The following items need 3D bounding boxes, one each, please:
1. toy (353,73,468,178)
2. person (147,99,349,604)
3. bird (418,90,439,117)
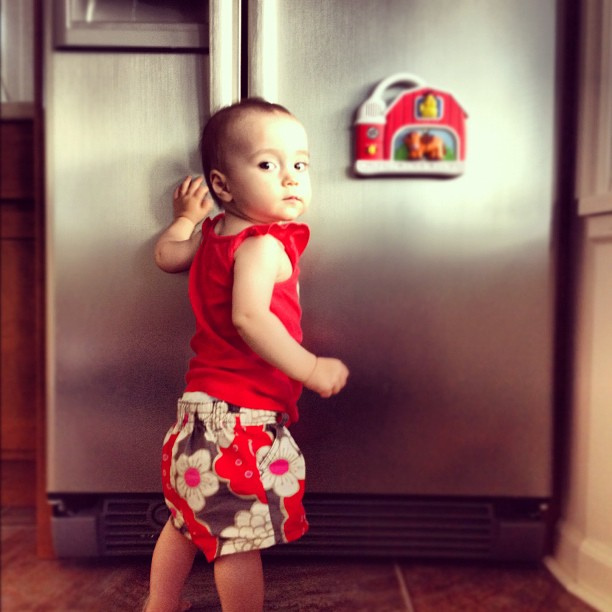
[{"bbox_3d":[0.173,-0.301,1.056,0.178,0.166,0.055,1,3,-3],"label":"toy"},{"bbox_3d":[-0.107,0.064,0.997,0.296,0.743,0.297,-3,11,-15],"label":"person"},{"bbox_3d":[0.198,-0.329,1.031,0.031,0.041,0.014,2,11,9],"label":"bird"}]
